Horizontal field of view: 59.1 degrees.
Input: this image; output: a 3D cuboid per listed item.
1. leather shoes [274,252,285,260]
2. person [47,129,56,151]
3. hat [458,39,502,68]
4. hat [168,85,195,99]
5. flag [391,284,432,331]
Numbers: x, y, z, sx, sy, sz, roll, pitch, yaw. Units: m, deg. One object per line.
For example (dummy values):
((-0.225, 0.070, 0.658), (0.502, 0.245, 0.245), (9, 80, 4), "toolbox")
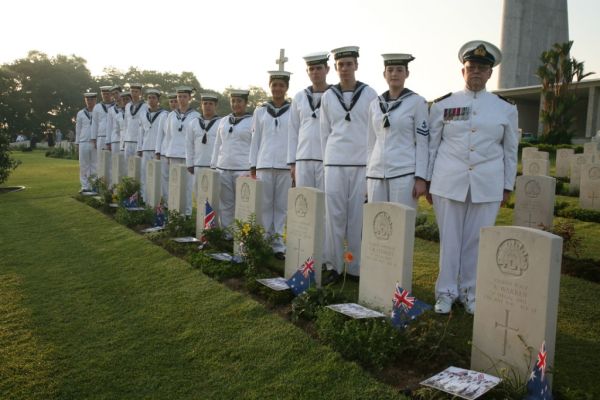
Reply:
((-0.364, 0.994, 9.425), (0.114, 0.094, 0.155), (4, -1, -3), "leather shoes")
((-21.370, -5.418, 45.569), (0.644, 1.315, 1.989), (-1, 7, -26), "person")
((2.496, -1.983, 7.273), (0.602, 0.259, 0.593), (12, 8, -42), "hat")
((-2.800, -2.656, 12.834), (0.647, 0.305, 0.705), (-1, 9, -10), "hat")
((1.379, 1.308, 6.728), (0.545, 0.575, 0.062), (-9, 18, -13), "flag")
